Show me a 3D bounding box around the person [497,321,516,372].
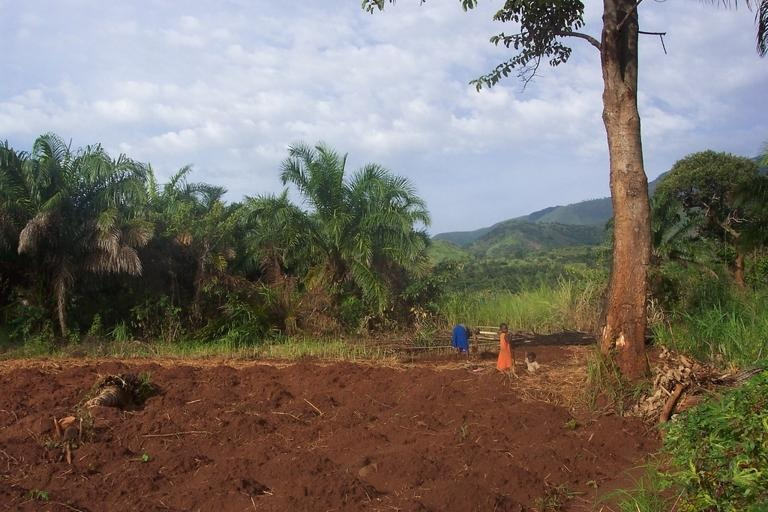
[{"bbox_3d":[2.687,2.044,13.412,0.464,1.385,0.565,-2,15,16],"label":"person"}]
